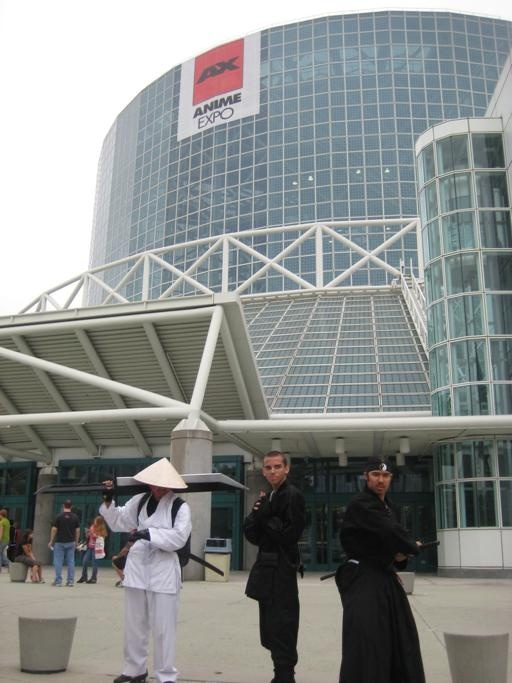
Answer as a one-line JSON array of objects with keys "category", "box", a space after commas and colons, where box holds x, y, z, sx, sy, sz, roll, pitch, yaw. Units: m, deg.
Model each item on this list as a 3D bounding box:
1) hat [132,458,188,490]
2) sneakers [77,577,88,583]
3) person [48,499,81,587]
[{"category": "hat", "box": [-0.745, 1.021, 5.000, 0.336, 0.131, 0.324, 5, 11, -37]}, {"category": "sneakers", "box": [-4.168, 5.725, 15.645, 0.331, 0.129, 0.107, 2, -10, 5]}, {"category": "person", "box": [-4.259, 4.466, 14.463, 0.607, 1.826, 1.543, 7, -19, -15]}]
